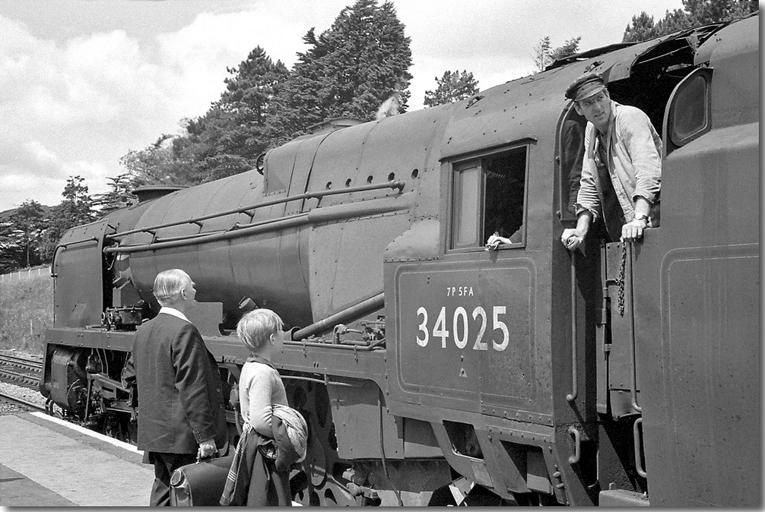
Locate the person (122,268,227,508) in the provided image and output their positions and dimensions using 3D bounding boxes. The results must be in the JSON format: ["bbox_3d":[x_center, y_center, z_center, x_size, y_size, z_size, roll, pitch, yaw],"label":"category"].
[{"bbox_3d":[-1.785,1.148,5.386,0.823,2.049,0.439,-1,-6,24],"label":"person"}]

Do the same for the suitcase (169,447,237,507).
[{"bbox_3d":[-1.382,1.838,5.010,0.585,0.206,0.338,8,-6,-44],"label":"suitcase"}]

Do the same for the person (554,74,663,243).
[{"bbox_3d":[1.768,-0.751,4.846,0.545,1.346,0.638,4,-6,-30],"label":"person"}]

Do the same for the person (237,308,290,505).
[{"bbox_3d":[-0.902,1.150,4.702,0.429,1.470,0.355,2,-6,-12],"label":"person"}]

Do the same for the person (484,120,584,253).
[{"bbox_3d":[1.220,-0.591,5.230,0.864,0.326,1.134,-12,-49,6],"label":"person"}]

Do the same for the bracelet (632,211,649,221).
[{"bbox_3d":[1.907,-0.291,4.586,0.073,0.046,0.075,5,-7,-19],"label":"bracelet"}]
